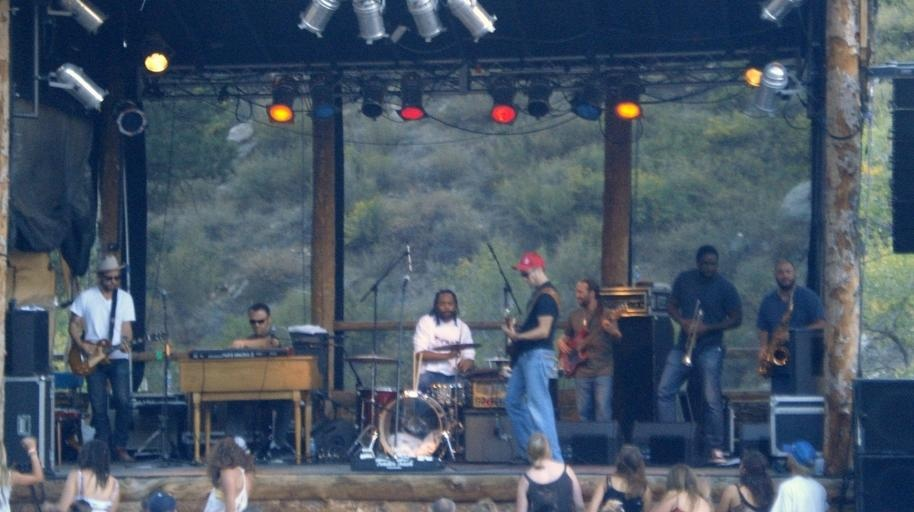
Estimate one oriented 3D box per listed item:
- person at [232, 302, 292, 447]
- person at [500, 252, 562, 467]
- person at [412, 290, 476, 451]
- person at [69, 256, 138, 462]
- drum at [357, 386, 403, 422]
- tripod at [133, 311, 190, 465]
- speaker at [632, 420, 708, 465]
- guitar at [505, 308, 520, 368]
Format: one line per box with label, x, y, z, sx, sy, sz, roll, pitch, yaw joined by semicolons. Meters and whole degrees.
person;-3.739;2.354;49.593;1.070;2.645;1.133;1;-2;-10
person;1.568;1.876;47.958;1.284;3.678;1.157;2;0;-5
person;-0.237;2.129;49.091;1.162;2.820;0.914;3;-2;7
person;-6.629;2.009;48.804;1.053;3.748;1.241;10;-3;7
drum;-1.441;2.882;48.735;0.705;0.467;0.703;0;-3;0
tripod;-5.649;3.055;49.476;0.984;3.438;1.163;0;-4;37
speaker;3.917;3.559;48.162;1.187;0.760;0.839;0;0;11
guitar;1.060;1.574;48.149;0.396;1.042;0.280;-6;12;-17
